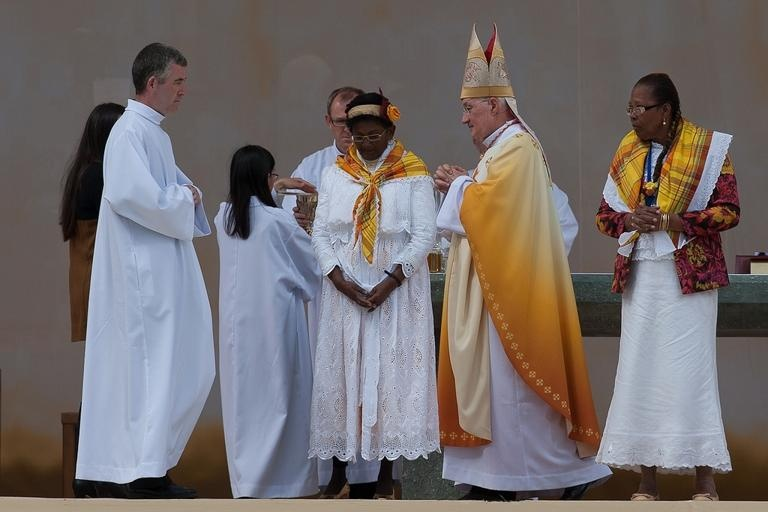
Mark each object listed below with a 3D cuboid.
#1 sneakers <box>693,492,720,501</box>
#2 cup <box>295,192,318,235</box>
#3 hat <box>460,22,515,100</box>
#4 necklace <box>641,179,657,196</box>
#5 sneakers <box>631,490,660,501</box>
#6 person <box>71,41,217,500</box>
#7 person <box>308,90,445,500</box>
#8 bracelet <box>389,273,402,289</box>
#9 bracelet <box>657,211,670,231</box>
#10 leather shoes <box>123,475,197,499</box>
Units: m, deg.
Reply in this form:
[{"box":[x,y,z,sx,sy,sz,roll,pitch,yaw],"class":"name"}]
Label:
[{"box":[2.094,1.565,9.975,0.224,0.059,0.080,16,-17,-42],"class":"sneakers"},{"box":[-0.549,-0.330,10.775,0.232,0.263,0.247,0,-4,0],"class":"cup"},{"box":[0.679,-1.330,10.453,0.379,0.452,0.343,-2,11,-4],"class":"hat"},{"box":[1.763,-0.462,10.187,0.113,0.105,0.027,0,4,26],"class":"necklace"},{"box":[1.692,1.577,10.059,0.183,0.070,0.099,2,-2,-38],"class":"sneakers"},{"box":[-1.618,0.034,10.285,0.918,2.925,0.309,-1,-2,-9],"class":"person"},{"box":[-0.085,0.129,10.254,0.855,2.424,0.341,-1,-2,-2],"class":"person"},{"box":[0.072,0.153,10.190,0.080,0.095,0.035,-1,-2,-2],"class":"bracelet"},{"box":[1.832,-0.245,10.136,0.106,0.100,0.083,3,0,1],"class":"bracelet"},{"box":[-1.523,1.542,10.307,0.539,0.234,0.176,0,-6,-6],"class":"leather shoes"}]
